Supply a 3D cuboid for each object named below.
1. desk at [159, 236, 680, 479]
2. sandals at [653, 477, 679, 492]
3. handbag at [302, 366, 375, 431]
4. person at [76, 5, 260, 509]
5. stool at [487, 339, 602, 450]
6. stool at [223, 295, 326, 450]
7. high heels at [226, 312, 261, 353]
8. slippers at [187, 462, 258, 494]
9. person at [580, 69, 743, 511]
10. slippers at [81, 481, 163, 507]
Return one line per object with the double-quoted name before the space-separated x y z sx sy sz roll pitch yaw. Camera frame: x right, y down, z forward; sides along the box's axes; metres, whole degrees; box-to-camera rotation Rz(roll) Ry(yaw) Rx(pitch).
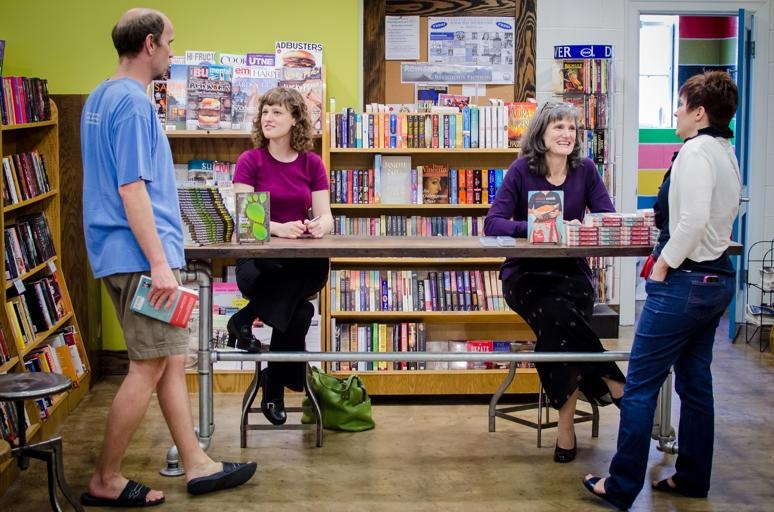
"desk" 0.230 0.636 4.431 2.915 1.279 1.099 9 -25 -23
"sandals" 1.628 1.333 4.093 0.125 0.037 0.064 2 10 26
"handbag" -0.367 1.063 5.080 0.541 0.376 0.438 -3 -6 30
"person" -1.337 0.031 3.835 0.801 2.714 0.438 -4 12 -20
"stool" 1.131 1.015 5.085 0.947 0.679 0.939 20 -19 -40
"stool" -0.747 0.917 4.873 0.567 0.826 0.646 -1 2 -18
"high heels" -0.911 0.482 4.490 0.349 0.224 0.115 6 -10 44
"slippers" -0.948 1.285 4.114 0.437 0.153 0.144 -9 1 -33
"person" 1.581 0.203 3.870 0.804 2.404 0.350 -4 12 -19
"slippers" -1.447 1.343 3.861 0.429 0.124 0.158 1 -2 -11
